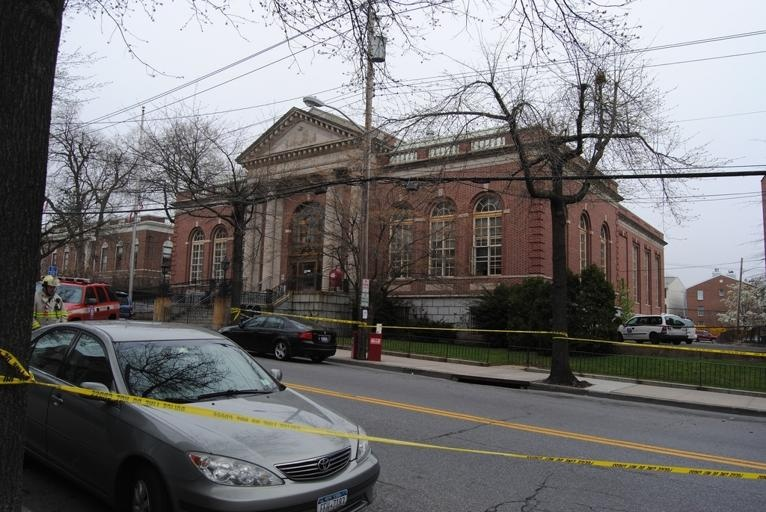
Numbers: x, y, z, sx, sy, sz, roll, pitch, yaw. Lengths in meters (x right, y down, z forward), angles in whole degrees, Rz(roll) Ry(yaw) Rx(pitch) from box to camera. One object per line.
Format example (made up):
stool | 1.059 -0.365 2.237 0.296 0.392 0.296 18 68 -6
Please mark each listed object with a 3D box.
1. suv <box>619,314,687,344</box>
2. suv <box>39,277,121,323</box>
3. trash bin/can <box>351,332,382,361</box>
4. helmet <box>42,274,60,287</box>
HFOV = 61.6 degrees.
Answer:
suv | 13.666 3.758 32.600 1.191 1.608 2.997 6 1 -41
suv | -9.836 1.432 20.467 1.862 1.714 3.085 -1 -9 1
trash bin/can | -0.588 3.193 22.497 0.963 0.889 0.345 -7 -12 40
helmet | -7.035 0.525 13.423 0.387 0.205 0.303 3 4 26
